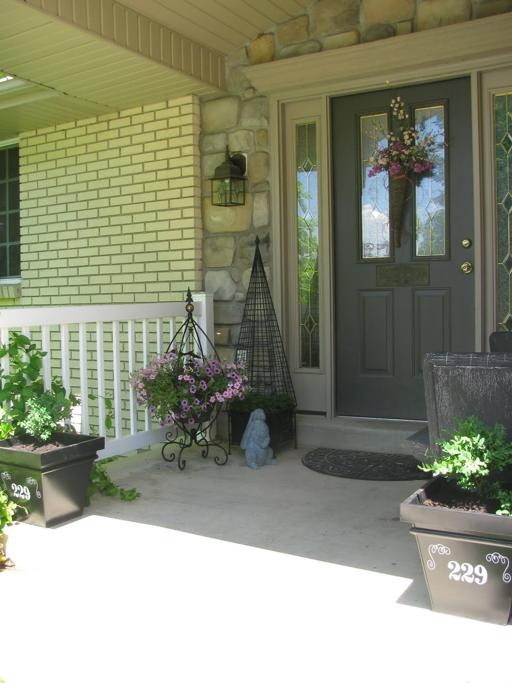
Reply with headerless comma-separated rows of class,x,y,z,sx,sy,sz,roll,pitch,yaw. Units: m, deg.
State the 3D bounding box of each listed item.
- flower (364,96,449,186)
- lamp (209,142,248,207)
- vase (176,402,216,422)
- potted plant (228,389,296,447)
flower,0.932,-1.111,3.473,0.302,0.285,0.324,-2,-8,29
lamp,-0.241,-1.126,3.892,0.302,0.386,0.205,-2,0,37
vase,-0.345,0.408,3.223,0.242,0.100,0.118,-2,0,-33
potted plant,0.033,0.440,3.502,0.365,0.318,0.357,0,3,23
